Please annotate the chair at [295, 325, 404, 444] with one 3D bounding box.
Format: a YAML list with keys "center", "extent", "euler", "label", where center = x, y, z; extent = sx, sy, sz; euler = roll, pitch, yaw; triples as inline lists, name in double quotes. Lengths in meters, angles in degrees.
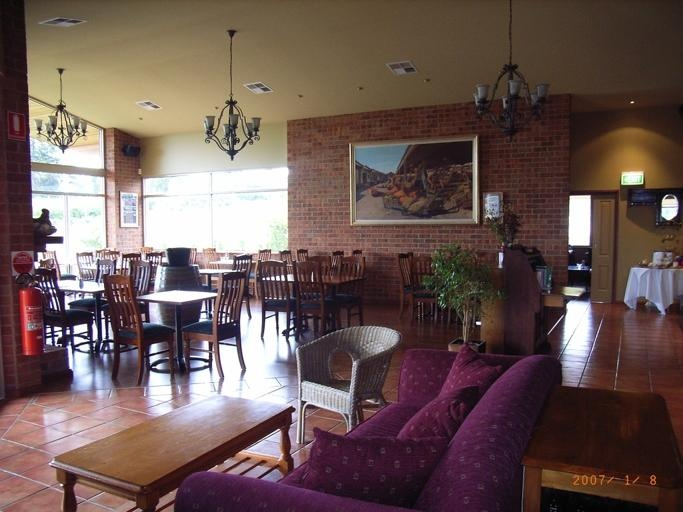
- center: [0.094, 0.879, 4.150]
  extent: [0.908, 1.082, 0.857]
  euler: [-4, -9, 35]
  label: "chair"

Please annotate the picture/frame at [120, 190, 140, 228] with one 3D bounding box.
- center: [-5.000, -1.097, 12.420]
  extent: [0.134, 0.578, 0.506]
  euler: [-1, 1, 25]
  label: "picture/frame"

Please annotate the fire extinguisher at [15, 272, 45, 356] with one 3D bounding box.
- center: [-3.051, 0.596, 5.203]
  extent: [0.208, 0.683, 0.215]
  euler: [-1, 2, 42]
  label: "fire extinguisher"

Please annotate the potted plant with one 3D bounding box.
- center: [1.278, 0.414, 5.486]
  extent: [0.924, 1.067, 0.427]
  euler: [-3, 2, -30]
  label: "potted plant"

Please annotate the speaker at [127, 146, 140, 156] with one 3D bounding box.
- center: [-4.833, -2.465, 12.230]
  extent: [0.069, 0.210, 0.299]
  euler: [26, 9, 20]
  label: "speaker"

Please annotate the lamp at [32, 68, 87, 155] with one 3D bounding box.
- center: [-4.821, -2.557, 9.061]
  extent: [0.848, 1.368, 0.773]
  euler: [-3, 4, -28]
  label: "lamp"

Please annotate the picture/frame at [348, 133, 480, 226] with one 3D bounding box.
- center: [1.408, -1.415, 9.491]
  extent: [1.753, 1.107, 0.086]
  euler: [1, 6, 28]
  label: "picture/frame"
